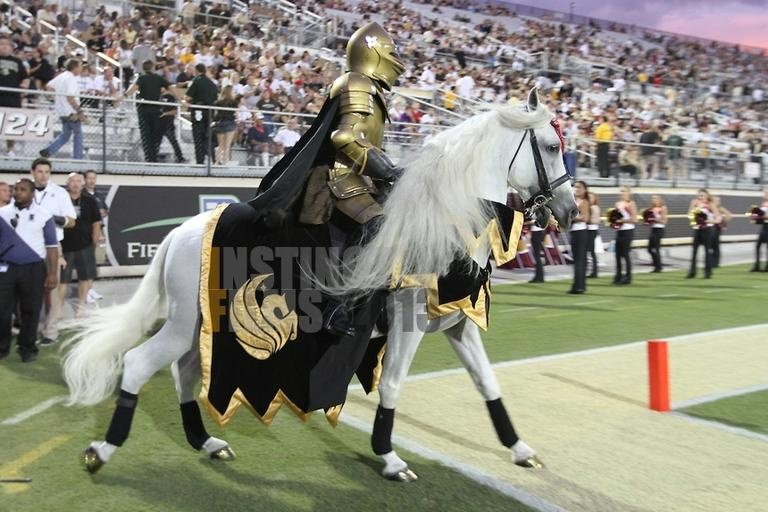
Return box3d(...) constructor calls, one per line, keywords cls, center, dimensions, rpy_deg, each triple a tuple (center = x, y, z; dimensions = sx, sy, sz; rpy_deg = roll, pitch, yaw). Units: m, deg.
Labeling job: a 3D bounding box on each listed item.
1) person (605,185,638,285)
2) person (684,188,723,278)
box3d(cls="person", center=(5.318, -0.476, 15.650), dimensions=(0.619, 2.181, 1.323), rpy_deg=(5, 14, 19))
box3d(cls="person", center=(7.318, -0.526, 16.099), dimensions=(0.611, 2.011, 0.738), rpy_deg=(6, 15, 21))
